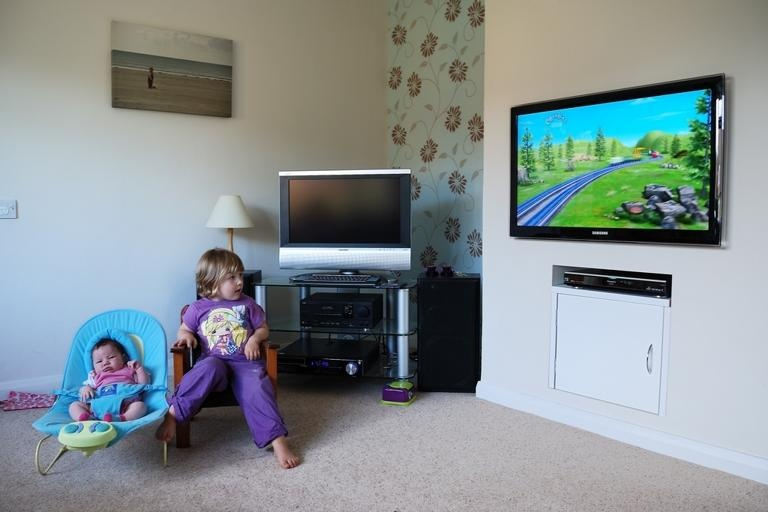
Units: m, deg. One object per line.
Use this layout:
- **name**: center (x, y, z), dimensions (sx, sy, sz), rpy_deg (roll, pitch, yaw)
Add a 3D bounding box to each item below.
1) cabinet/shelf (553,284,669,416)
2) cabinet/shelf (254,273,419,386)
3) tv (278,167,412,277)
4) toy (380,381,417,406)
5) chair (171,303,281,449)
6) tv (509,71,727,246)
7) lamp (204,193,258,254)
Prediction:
- **cabinet/shelf**: center (1.484, 0.535, 3.450), dimensions (0.753, 0.687, 0.408), rpy_deg (7, 13, 43)
- **cabinet/shelf**: center (-0.440, 0.511, 3.961), dimensions (1.189, 0.726, 0.577), rpy_deg (4, 3, -5)
- **tv**: center (-0.279, -0.253, 3.978), dimensions (0.842, 0.606, 0.089), rpy_deg (0, 2, 10)
- **toy**: center (0.113, 0.918, 3.725), dimensions (0.170, 0.083, 0.168), rpy_deg (-1, -2, 21)
- **chair**: center (-0.890, 0.682, 3.195), dimensions (0.638, 0.825, 0.453), rpy_deg (1, 4, -10)
- **tv**: center (1.422, -0.573, 3.194), dimensions (1.160, 0.812, 0.087), rpy_deg (1, 2, 39)
- **lamp**: center (-1.127, -0.251, 4.023), dimensions (0.417, 0.644, 0.406), rpy_deg (-4, 7, -21)
